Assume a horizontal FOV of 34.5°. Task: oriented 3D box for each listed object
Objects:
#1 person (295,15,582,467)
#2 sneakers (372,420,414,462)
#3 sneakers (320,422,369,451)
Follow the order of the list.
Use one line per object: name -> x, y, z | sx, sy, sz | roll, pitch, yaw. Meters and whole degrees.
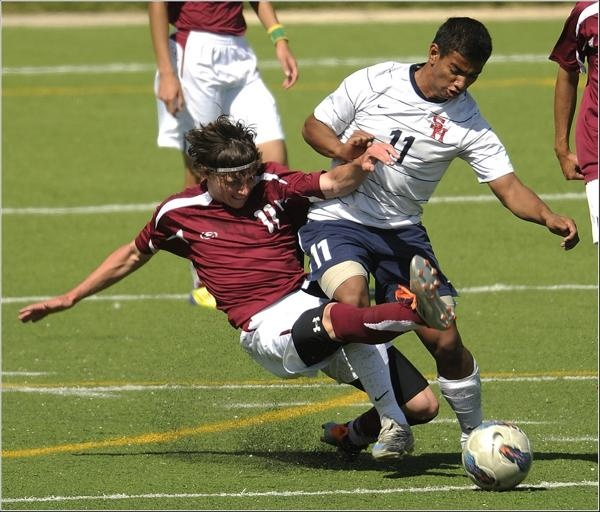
person -> 0.621, -0.473, 5.221 | 1.291, 1.550, 0.683 | -4, 17, -2
sneakers -> 0.476, 0.963, 4.960 | 0.118, 0.150, 0.319 | -3, -8, 21
sneakers -> 0.260, 1.034, 5.518 | 0.177, 0.129, 0.235 | 5, -2, -34
